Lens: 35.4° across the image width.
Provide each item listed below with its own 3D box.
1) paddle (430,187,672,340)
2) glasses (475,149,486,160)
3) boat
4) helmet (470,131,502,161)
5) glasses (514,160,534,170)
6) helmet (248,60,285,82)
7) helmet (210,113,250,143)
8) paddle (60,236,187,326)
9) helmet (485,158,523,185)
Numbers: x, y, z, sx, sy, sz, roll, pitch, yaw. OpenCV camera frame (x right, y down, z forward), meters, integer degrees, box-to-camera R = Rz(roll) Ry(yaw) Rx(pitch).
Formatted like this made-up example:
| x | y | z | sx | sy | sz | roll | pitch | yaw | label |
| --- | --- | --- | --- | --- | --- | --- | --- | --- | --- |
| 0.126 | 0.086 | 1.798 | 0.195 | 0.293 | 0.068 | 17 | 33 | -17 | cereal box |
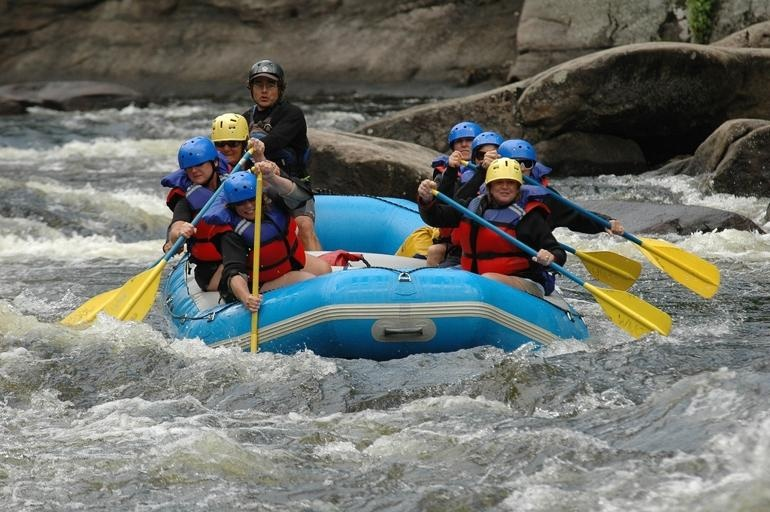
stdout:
| x | y | z | sx | sy | sz | roll | pitch | yaw | label |
| --- | --- | --- | --- | --- | --- | --- | --- | --- | --- |
| 1.955 | -0.206 | 15.245 | 3.112 | 0.175 | 0.411 | 15 | 34 | -22 | paddle |
| 1.260 | -1.365 | 16.101 | 0.121 | 0.108 | 0.126 | 4 | -7 | 1 | glasses |
| -0.378 | 0.214 | 15.731 | 4.715 | 1.384 | 3.971 | -2 | 15 | -19 | boat |
| 1.352 | -1.474 | 16.086 | 0.384 | 0.370 | 0.232 | 6 | 18 | 5 | helmet |
| 1.763 | -1.182 | 15.396 | 0.229 | 0.166 | 0.060 | -3 | -21 | 11 | glasses |
| -1.573 | -2.512 | 16.304 | 0.464 | 0.215 | 0.515 | -1 | -18 | 8 | helmet |
| -2.024 | -1.646 | 15.798 | 0.431 | 0.433 | 0.325 | 0 | 47 | -5 | helmet |
| -3.598 | 0.366 | 16.488 | 1.098 | 0.309 | 1.078 | -35 | 3 | -21 | paddle |
| 1.470 | -1.046 | 14.846 | 0.447 | 0.337 | 0.269 | 7 | 17 | 9 | helmet |
